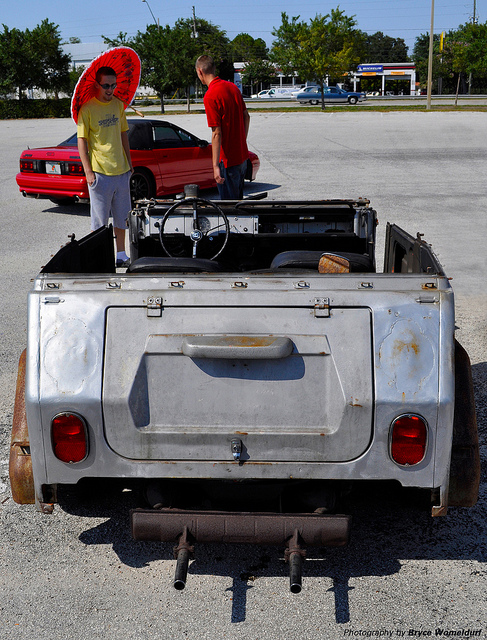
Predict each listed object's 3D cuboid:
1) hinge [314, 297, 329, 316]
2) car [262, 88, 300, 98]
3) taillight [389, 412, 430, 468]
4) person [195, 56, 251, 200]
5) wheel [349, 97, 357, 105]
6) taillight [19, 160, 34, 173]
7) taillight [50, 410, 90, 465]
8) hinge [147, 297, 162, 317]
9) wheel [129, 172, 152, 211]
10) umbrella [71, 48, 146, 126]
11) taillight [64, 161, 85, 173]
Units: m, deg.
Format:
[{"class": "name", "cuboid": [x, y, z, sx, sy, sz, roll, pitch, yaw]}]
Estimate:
[{"class": "hinge", "cuboid": [0.274, -0.053, 2.634, 0.053, 0.089, 0.055, 1, 4, 4]}, {"class": "car", "cuboid": [3.536, -22.161, 72.300, 2.797, 0.840, 1.948, 5, 27, 13]}, {"class": "taillight", "cuboid": [0.575, 0.404, 2.593, 0.146, 0.258, 0.030, -1, 8, 3]}, {"class": "person", "cuboid": [-0.198, -1.813, 7.076, 0.322, 1.357, 0.711, 3, 15, 22]}, {"class": "wheel", "cuboid": [7.589, -15.335, 51.692, 0.516, 0.400, 0.552, -3, 15, 1]}, {"class": "taillight", "cuboid": [-3.055, -2.193, 10.518, 0.196, 0.194, 0.312, 0, 12, -18]}, {"class": "taillight", "cuboid": [-0.610, 0.405, 2.644, 0.156, 0.277, 0.050, 0, 9, 2]}, {"class": "hinge", "cuboid": [-0.316, -0.050, 2.655, 0.052, 0.091, 0.054, 1, -6, 0]}, {"class": "wheel", "cuboid": [-1.439, -1.889, 10.420, 0.222, 0.387, 0.524, -1, 15, 7]}, {"class": "umbrella", "cuboid": [-1.224, -2.151, 6.731, 0.443, 0.590, 1.135, 2, 16, 20]}, {"class": "taillight", "cuboid": [-2.243, -2.044, 9.863, 0.056, 0.150, 0.399, -16, 19, -42]}]
